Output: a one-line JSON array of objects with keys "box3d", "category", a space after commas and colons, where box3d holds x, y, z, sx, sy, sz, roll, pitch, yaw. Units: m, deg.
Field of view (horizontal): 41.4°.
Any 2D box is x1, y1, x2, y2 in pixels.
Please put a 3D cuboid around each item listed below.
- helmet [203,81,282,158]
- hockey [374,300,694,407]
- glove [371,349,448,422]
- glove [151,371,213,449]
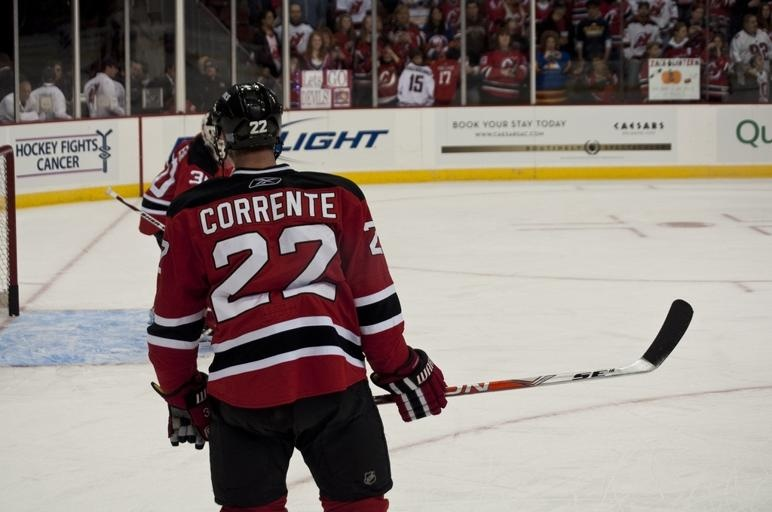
[{"box3d": [-0.783, -0.711, 5.387, 0.361, 0.333, 0.426, -3, 11, -14], "category": "helmet"}, {"box3d": [1.049, 0.694, 7.045, 3.120, 0.328, 0.519, -4, 31, -13], "category": "hockey"}, {"box3d": [0.123, 0.653, 5.295, 0.398, 0.387, 0.185, -23, 31, 15], "category": "glove"}, {"box3d": [-1.045, 0.804, 5.193, 0.330, 0.384, 0.180, 2, 5, 7], "category": "glove"}]
